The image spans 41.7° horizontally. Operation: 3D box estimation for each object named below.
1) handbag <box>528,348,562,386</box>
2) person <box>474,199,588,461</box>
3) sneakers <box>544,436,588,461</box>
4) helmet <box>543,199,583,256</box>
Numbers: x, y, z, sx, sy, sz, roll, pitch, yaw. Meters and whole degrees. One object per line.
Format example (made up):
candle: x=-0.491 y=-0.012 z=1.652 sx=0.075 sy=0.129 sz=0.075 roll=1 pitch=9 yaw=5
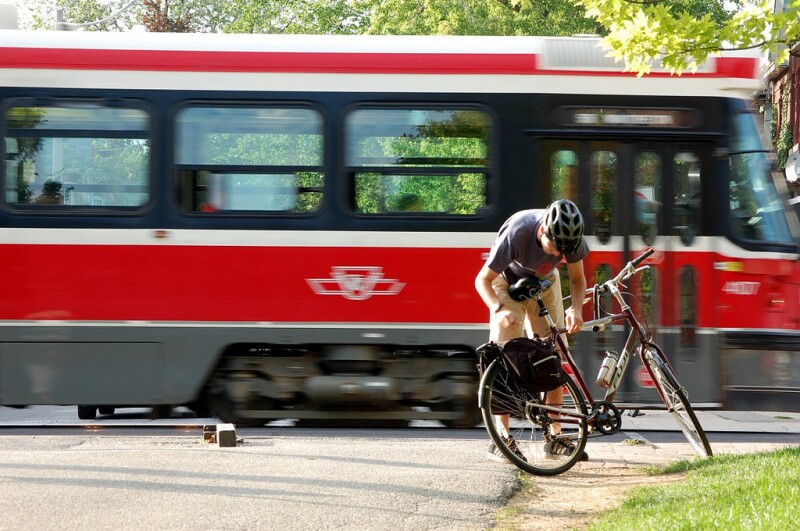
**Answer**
handbag: x=1.495 y=0.993 z=10.846 sx=0.438 sy=0.399 sz=0.255 roll=-4 pitch=-5 yaw=-25
person: x=1.409 y=0.032 z=11.014 sx=1.132 sy=1.469 sz=0.831 roll=0 pitch=5 yaw=8
sneakers: x=1.793 y=1.838 z=11.102 sx=0.543 sy=0.247 sz=0.159 roll=-1 pitch=1 yaw=-1
helmet: x=1.677 y=-0.414 z=10.695 sx=0.435 sy=0.516 sz=0.293 roll=2 pitch=-31 yaw=-21
